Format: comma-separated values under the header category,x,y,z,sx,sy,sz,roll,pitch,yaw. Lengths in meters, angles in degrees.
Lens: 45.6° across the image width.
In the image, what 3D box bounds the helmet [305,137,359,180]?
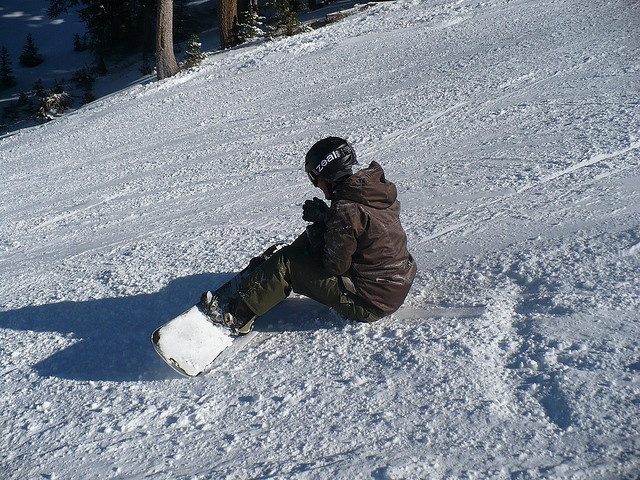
category,x,y,z,sx,sy,sz,roll,pitch,yaw
helmet,0.056,-0.979,8.881,0.598,0.495,0.459,22,47,41

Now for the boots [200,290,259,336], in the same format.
category,x,y,z,sx,sy,sz,roll,pitch,yaw
boots,-1.088,0.870,8.976,0.689,0.270,0.368,26,37,-6
